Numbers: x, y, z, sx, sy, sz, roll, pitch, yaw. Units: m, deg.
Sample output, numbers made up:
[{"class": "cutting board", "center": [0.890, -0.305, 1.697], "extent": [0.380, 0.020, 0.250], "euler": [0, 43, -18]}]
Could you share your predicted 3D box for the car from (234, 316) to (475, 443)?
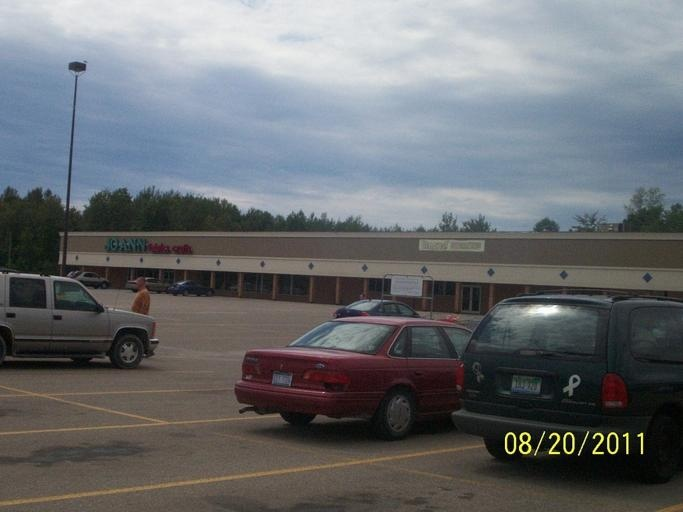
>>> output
[{"class": "car", "center": [0.668, 1.655, 10.712], "extent": [1.749, 1.109, 3.499], "euler": [-2, -3, 40]}]
